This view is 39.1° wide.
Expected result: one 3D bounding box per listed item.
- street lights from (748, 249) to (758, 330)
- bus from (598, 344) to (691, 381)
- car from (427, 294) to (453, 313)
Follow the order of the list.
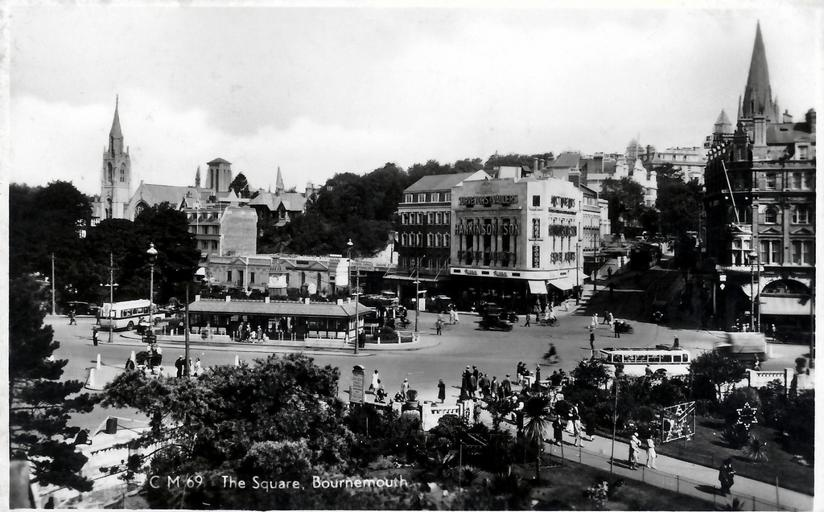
[{"bbox_3d":[21.376,2.178,72.462,0.320,4.989,0.881,0,-2,36],"label":"street lights"},{"bbox_3d":[13.683,6.238,67.574,5.320,1.518,2.858,2,-2,-14],"label":"bus"},{"bbox_3d":[2.039,3.953,93.977,1.896,1.086,1.203,-1,2,18],"label":"car"}]
